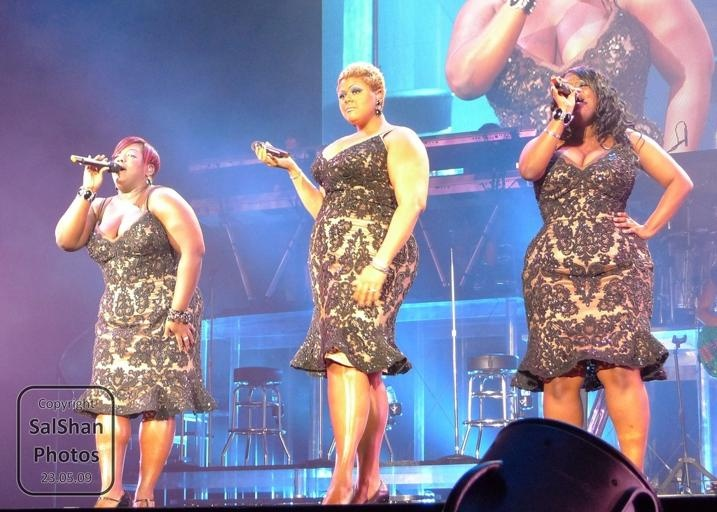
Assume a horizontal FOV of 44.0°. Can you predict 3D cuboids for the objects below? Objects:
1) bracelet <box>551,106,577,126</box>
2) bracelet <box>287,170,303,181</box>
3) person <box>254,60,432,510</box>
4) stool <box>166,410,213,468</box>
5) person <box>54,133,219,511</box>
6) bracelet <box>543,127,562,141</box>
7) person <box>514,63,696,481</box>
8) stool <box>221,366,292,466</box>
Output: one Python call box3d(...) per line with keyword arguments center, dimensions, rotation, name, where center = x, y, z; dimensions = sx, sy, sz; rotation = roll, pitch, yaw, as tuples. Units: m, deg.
box3d(center=(1.205, -0.810, 5.214), dimensions=(0.107, 0.050, 0.109), rotation=(16, -20, 9), name="bracelet")
box3d(center=(-0.396, -0.482, 5.346), dimensions=(0.056, 0.014, 0.054), rotation=(14, -28, -34), name="bracelet")
box3d(center=(0.024, 0.116, 5.038), dimensions=(0.769, 2.465, 0.392), rotation=(-1, -14, -4), name="person")
box3d(center=(-1.759, 1.916, 9.438), dimensions=(0.457, 0.603, 0.447), rotation=(-11, -16, 27), name="stool")
box3d(center=(-1.397, 0.363, 5.573), dimensions=(0.937, 2.318, 0.422), rotation=(1, -15, -10), name="person")
box3d(center=(1.149, -0.703, 5.222), dimensions=(0.071, 0.026, 0.073), rotation=(30, -7, 37), name="bracelet")
box3d(center=(1.420, 0.055, 5.286), dimensions=(0.917, 2.373, 0.567), rotation=(3, -15, -20), name="person")
box3d(center=(-1.138, 1.756, 9.793), dimensions=(0.684, 0.992, 0.720), rotation=(-1, -11, 16), name="stool")
